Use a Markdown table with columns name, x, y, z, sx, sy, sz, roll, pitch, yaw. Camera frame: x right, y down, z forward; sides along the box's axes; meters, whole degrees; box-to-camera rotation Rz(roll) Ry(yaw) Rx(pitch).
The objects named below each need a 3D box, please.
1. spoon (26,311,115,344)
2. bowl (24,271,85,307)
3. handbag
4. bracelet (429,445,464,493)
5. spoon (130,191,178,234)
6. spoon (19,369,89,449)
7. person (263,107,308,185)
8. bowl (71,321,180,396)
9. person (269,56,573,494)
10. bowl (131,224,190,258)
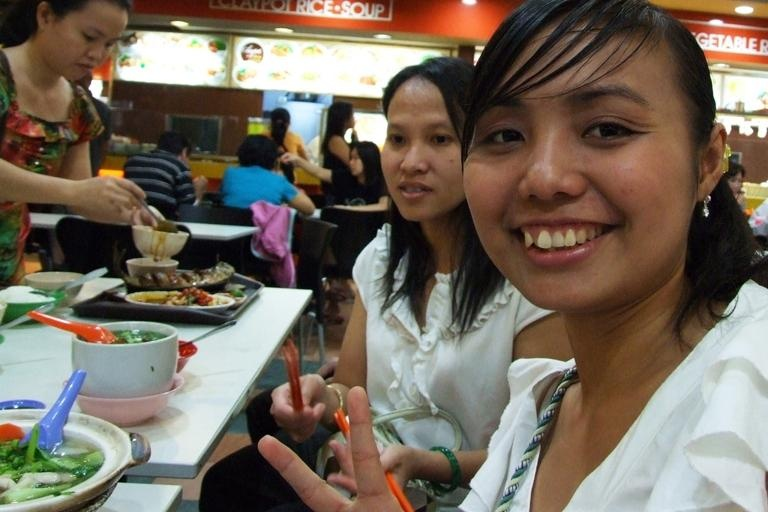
| name | x | y | z | sx | sy | sz | roll | pitch | yaw |
| --- | --- | --- | --- | --- | --- | --- | --- | --- | --- |
| spoon | -0.791 | 0.180 | 1.499 | 0.199 | 0.057 | 0.064 | 12 | 13 | 9 |
| bowl | -1.039 | 0.086 | 1.864 | 0.126 | 0.060 | 0.126 | 0 | 3 | 0 |
| handbag | 0.030 | 0.556 | 1.532 | 0.320 | 0.130 | 0.239 | -12 | 38 | -24 |
| bracelet | 0.178 | 0.524 | 1.491 | 0.025 | 0.096 | 0.095 | -13 | 66 | -25 |
| spoon | -0.828 | -0.148 | 2.189 | 0.033 | 0.100 | 0.184 | -33 | 69 | -31 |
| spoon | -0.569 | 0.269 | 1.057 | 0.040 | 0.044 | 0.136 | -14 | 35 | 37 |
| person | -1.081 | -1.355 | 7.183 | 0.325 | 0.830 | 0.268 | -24 | 55 | -19 |
| bowl | -0.531 | 0.212 | 1.241 | 0.160 | 0.130 | 0.176 | 4 | 7 | 5 |
| person | 0.124 | 0.121 | 1.696 | 0.770 | 1.291 | 0.726 | 1 | 5 | 23 |
| bowl | -0.800 | -0.055 | 2.115 | 0.141 | 0.082 | 0.138 | 3 | 6 | 0 |
